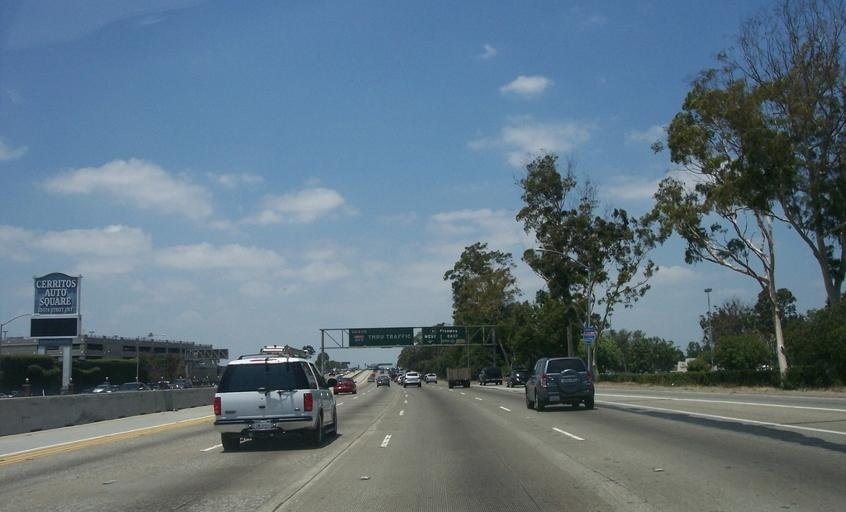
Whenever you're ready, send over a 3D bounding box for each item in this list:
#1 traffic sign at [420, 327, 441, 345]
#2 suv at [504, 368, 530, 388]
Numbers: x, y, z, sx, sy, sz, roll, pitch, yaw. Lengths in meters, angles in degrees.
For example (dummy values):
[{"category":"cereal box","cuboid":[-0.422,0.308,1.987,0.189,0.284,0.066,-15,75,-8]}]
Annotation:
[{"category":"traffic sign","cuboid":[0.852,9.561,98.935,2.041,2.313,2.987,-2,-15,1]},{"category":"suv","cuboid":[9.275,12.031,82.664,2.245,1.927,4.075,1,-6,-5]}]
